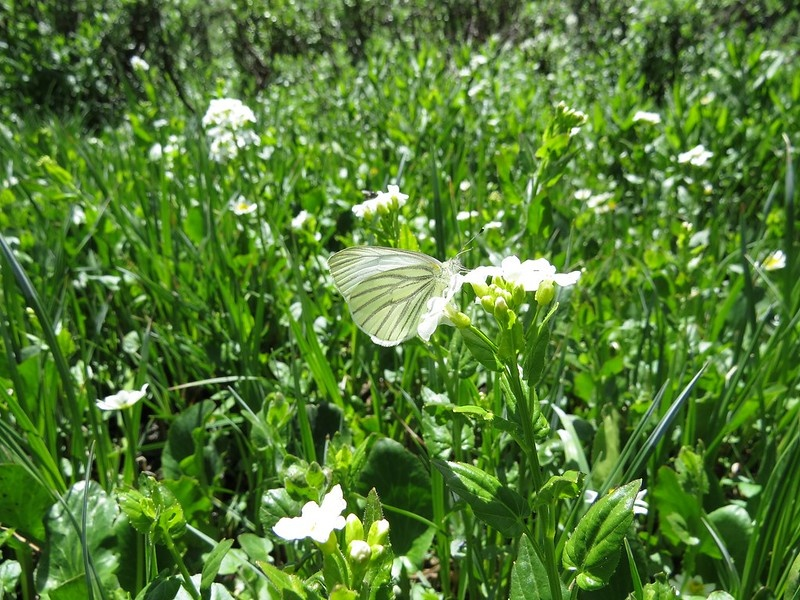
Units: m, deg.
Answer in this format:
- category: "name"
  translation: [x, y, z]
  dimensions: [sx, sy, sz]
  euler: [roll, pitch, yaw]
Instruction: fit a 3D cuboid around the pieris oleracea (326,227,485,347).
- category: "pieris oleracea"
  translation: [0.126, -0.108, 3.787]
  dimensions: [0.668, 0.582, 0.763]
  euler: [-12, -10, 33]
